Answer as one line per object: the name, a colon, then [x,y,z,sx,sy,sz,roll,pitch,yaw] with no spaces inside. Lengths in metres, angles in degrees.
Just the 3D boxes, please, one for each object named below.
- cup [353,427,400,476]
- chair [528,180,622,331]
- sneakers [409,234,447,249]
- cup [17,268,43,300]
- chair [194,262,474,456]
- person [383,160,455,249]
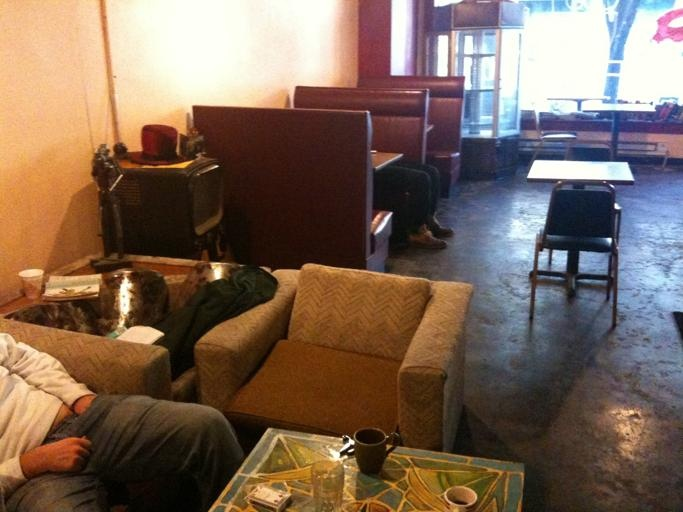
cup: [0.107,0.684,2.026,0.122,0.134,0.191,4,6,44]
chair: [1.807,-0.135,4.243,0.673,0.953,1.167,7,20,22]
sneakers: [0.851,-0.166,5.600,0.398,0.174,0.139,3,20,13]
cup: [-1.648,0.146,2.982,0.151,0.142,0.148,3,6,0]
chair: [-0.009,0.480,2.639,1.185,0.734,0.930,7,19,19]
person: [0.708,-0.576,5.749,0.990,0.854,0.643,4,30,12]
